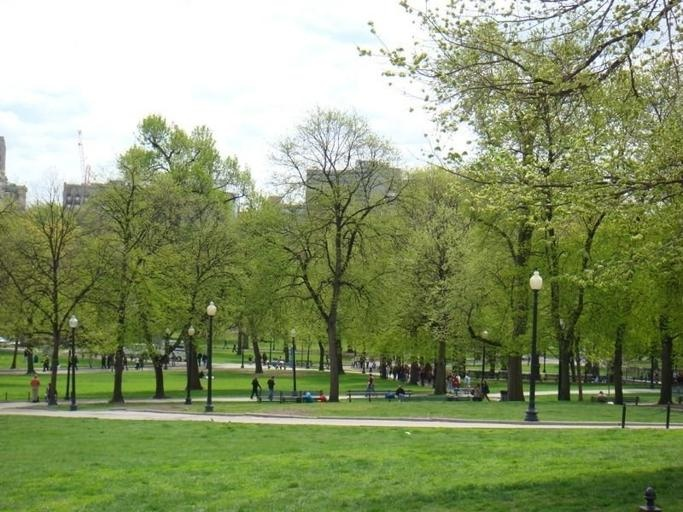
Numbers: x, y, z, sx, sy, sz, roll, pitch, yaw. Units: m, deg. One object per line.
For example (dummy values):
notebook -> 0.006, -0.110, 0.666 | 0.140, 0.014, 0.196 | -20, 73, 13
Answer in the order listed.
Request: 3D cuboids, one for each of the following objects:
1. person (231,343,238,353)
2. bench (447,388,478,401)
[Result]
person -> -13.466, 11.623, 133.533 | 0.760, 1.158, 1.622 | -3, -8, -4
bench -> 7.216, 8.031, 61.496 | 1.828, 0.827, 4.213 | -1, -9, 6
